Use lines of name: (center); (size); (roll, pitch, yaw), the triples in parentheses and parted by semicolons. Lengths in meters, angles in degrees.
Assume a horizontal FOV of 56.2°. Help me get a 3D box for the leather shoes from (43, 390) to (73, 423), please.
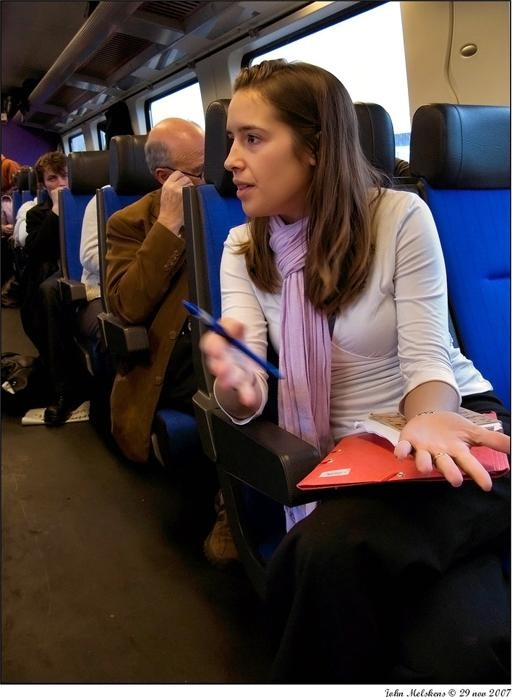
leather shoes: (-1.015, 0.319, 2.485); (0.074, 0.130, 0.244); (0, -3, -1)

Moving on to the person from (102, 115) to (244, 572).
person: (-0.274, -0.027, 1.706); (0.435, 1.420, 0.501); (11, 16, 43)

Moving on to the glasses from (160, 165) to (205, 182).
glasses: (-0.261, -0.619, 1.704); (0.099, 0.037, 0.106); (-4, 6, 3)
